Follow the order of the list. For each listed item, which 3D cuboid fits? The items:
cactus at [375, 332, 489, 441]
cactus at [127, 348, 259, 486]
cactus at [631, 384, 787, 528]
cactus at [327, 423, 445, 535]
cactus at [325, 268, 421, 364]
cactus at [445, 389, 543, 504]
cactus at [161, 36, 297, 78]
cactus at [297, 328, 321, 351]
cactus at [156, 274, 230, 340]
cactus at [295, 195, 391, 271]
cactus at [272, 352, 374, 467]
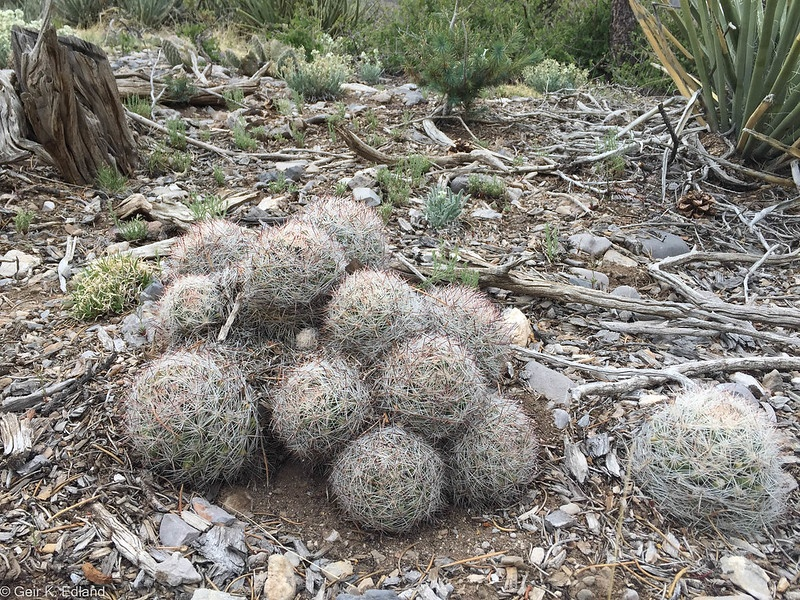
[{"bbox_3d":[0.155,0.441,3.983,0.574,0.453,0.494,1,10,1],"label":"cactus"},{"bbox_3d":[-1.095,0.596,4.086,0.729,0.658,0.675,1,-5,-19],"label":"cactus"},{"bbox_3d":[1.643,0.804,4.144,0.793,0.732,0.768,-3,5,28],"label":"cactus"},{"bbox_3d":[-0.041,0.931,3.821,0.588,0.366,0.487,6,48,8],"label":"cactus"},{"bbox_3d":[-0.076,0.081,4.120,0.518,0.471,0.497,-7,-4,9],"label":"cactus"},{"bbox_3d":[0.505,0.807,4.052,0.525,0.522,0.519,-13,32,16],"label":"cactus"},{"bbox_3d":[-2.010,-2.871,8.752,1.474,0.427,1.185,-7,39,-11],"label":"cactus"},{"bbox_3d":[-0.494,0.206,3.993,0.104,0.064,0.119,-4,9,-6],"label":"cactus"},{"bbox_3d":[-1.125,0.044,4.204,0.385,0.259,0.367,-15,3,-3],"label":"cactus"},{"bbox_3d":[-0.290,-0.360,4.512,0.485,0.450,0.475,-16,-1,23],"label":"cactus"},{"bbox_3d":[-0.369,0.516,3.961,0.547,0.508,0.522,-13,4,21],"label":"cactus"}]
